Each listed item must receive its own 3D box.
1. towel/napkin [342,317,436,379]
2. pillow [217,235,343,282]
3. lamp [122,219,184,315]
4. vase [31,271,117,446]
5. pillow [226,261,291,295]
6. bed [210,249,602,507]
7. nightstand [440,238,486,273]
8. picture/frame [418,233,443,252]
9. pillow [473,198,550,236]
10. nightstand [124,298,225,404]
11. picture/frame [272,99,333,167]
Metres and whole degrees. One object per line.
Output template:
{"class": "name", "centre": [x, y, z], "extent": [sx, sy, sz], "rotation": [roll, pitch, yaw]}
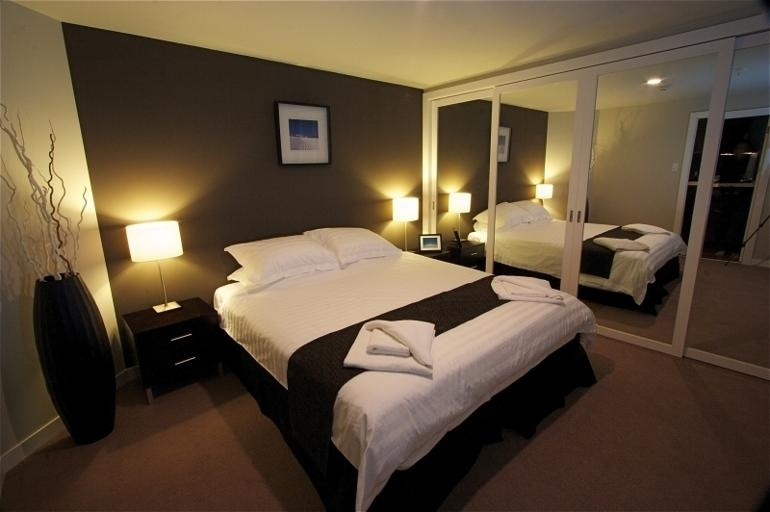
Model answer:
{"class": "towel/napkin", "centre": [0.053, 0.656, 3.554], "extent": [0.436, 0.130, 0.445], "rotation": [-1, 16, 7]}
{"class": "pillow", "centre": [-0.944, 0.020, 4.740], "extent": [0.614, 0.142, 0.586], "rotation": [-10, 32, -34]}
{"class": "lamp", "centre": [-2.031, 0.074, 4.494], "extent": [0.419, 0.873, 0.324], "rotation": [-9, 22, -22]}
{"class": "vase", "centre": [-2.417, 0.809, 3.924], "extent": [0.458, 1.334, 0.301], "rotation": [-13, 17, -34]}
{"class": "pillow", "centre": [-1.140, 0.198, 4.558], "extent": [0.334, 0.095, 0.313], "rotation": [-21, 34, -38]}
{"class": "bed", "centre": [0.432, 0.616, 3.766], "extent": [2.026, 0.492, 2.011], "rotation": [-21, 26, -36]}
{"class": "nightstand", "centre": [0.930, -0.025, 5.923], "extent": [0.398, 0.378, 0.410], "rotation": [-18, 25, -41]}
{"class": "picture/frame", "centre": [0.536, -0.158, 5.971], "extent": [0.238, 0.198, 0.025], "rotation": [0, -12, -3]}
{"class": "pillow", "centre": [1.446, -0.424, 5.437], "extent": [0.472, 0.139, 0.334], "rotation": [-6, 24, 48]}
{"class": "nightstand", "centre": [-1.959, 0.776, 4.680], "extent": [0.787, 0.745, 0.794], "rotation": [-15, 21, -35]}
{"class": "picture/frame", "centre": [-0.887, -1.297, 5.166], "extent": [0.697, 0.637, 0.068], "rotation": [-10, 19, -32]}
